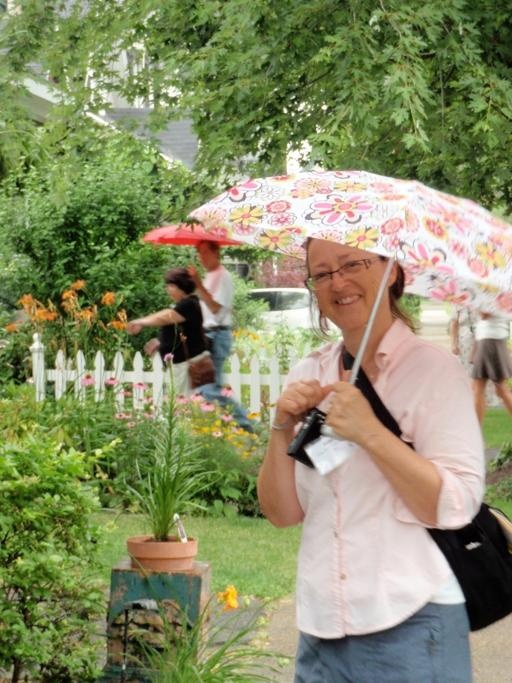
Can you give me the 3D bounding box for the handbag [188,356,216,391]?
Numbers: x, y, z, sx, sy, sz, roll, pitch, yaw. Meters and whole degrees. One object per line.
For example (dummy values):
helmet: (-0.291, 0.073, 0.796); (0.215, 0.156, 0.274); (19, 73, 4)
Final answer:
handbag: (-0.502, 0.279, 6.526); (0.309, 0.248, 0.147); (-13, 16, -2)
